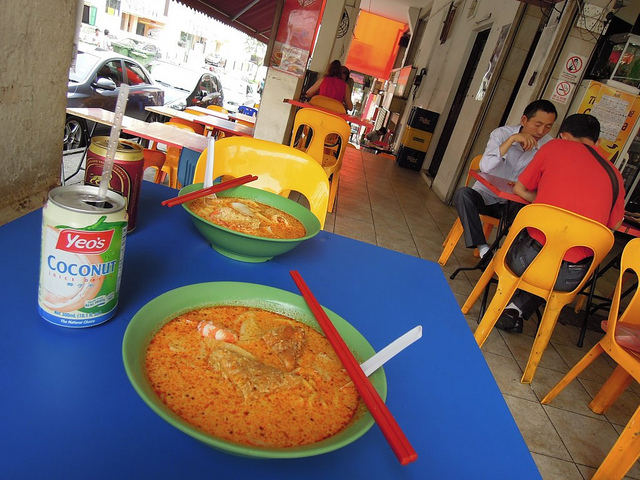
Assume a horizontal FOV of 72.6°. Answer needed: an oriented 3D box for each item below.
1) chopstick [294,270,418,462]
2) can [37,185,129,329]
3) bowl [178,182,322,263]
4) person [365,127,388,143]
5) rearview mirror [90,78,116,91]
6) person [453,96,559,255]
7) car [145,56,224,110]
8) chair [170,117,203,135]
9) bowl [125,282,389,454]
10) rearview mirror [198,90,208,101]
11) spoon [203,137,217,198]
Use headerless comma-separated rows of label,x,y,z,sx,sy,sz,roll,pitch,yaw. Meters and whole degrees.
chopstick,0.045,0.210,0.811,0.028,0.021,0.484,14,16,-26
can,-0.422,0.027,0.771,0.135,0.224,0.135,13,23,-6
bowl,-0.206,-0.017,1.227,0.336,0.131,0.354,14,-14,4
person,1.403,-2.620,10.986,0.458,0.415,0.847,16,23,2
rearview mirror,-2.663,-1.883,5.288,0.170,0.074,0.160,11,13,27
person,1.834,-0.544,3.906,0.945,1.445,0.812,13,14,18
car,-2.605,-3.083,8.534,1.069,0.933,1.875,18,20,1
chair,-1.476,-1.277,4.819,0.313,0.138,0.271,16,-8,4
bowl,-0.142,0.220,0.772,0.387,0.092,0.401,15,23,-7
rearview mirror,-2.330,-2.862,8.618,0.135,0.193,0.075,8,-14,-1
spoon,-0.297,-0.200,1.186,0.035,0.175,0.025,0,30,-15
